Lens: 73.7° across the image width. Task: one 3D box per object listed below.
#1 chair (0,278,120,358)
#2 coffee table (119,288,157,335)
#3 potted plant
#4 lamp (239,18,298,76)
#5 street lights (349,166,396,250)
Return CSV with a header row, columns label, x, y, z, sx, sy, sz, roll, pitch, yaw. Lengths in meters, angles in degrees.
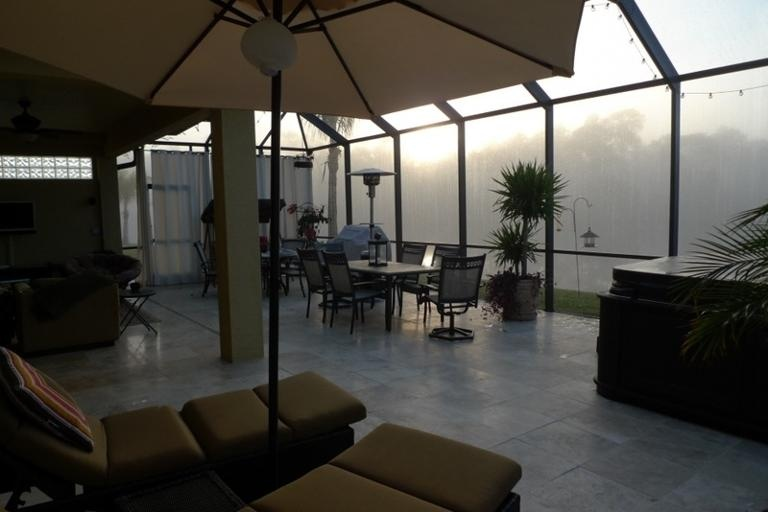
label,x,y,z,sx,sy,sz,roll,pitch,yaw
chair,-4.069,0.577,6.690,1.175,0.919,1.143,23,-13,-17
coffee table,-3.692,0.850,7.630,0.603,0.713,0.616,3,-1,-37
potted plant,2.080,-0.209,7.429,1.146,2.263,1.103,7,-3,-11
lamp,-0.539,-0.970,2.362,0.232,0.243,0.109,7,40,-10
street lights,-0.205,-0.785,8.030,0.806,1.136,0.800,0,7,-10
